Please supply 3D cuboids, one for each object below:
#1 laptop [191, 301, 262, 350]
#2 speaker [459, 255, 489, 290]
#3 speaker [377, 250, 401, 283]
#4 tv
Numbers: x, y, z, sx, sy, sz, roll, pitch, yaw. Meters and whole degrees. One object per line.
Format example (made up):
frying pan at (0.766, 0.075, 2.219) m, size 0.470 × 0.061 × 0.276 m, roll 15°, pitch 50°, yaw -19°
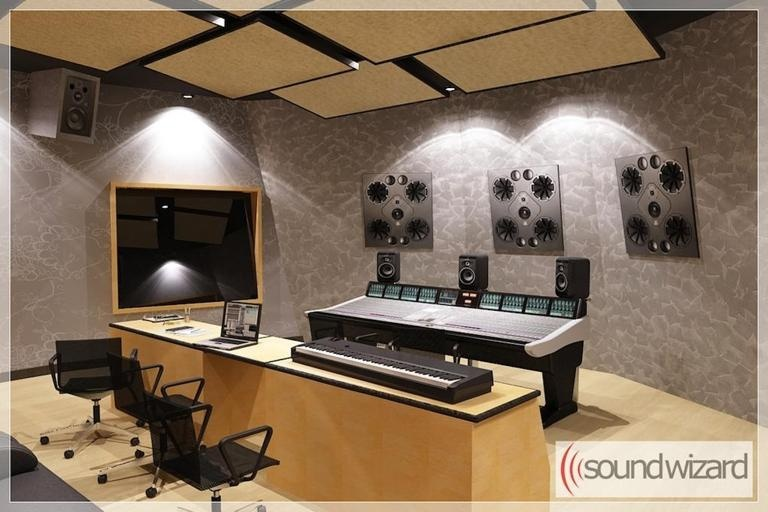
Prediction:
laptop at (-1.534, 0.697, 4.701) m, size 0.549 × 0.366 × 0.474 m, roll -1°, pitch 1°, yaw 35°
speaker at (1.097, 0.205, 5.871) m, size 0.352 × 0.428 × 0.261 m, roll 1°, pitch 12°, yaw 7°
speaker at (0.058, 0.149, 6.555) m, size 0.286 × 0.406 × 0.185 m, roll 2°, pitch 12°, yaw 12°
tv at (-3.167, -0.096, 7.393) m, size 2.353 × 1.776 × 0.164 m, roll -3°, pitch 1°, yaw -29°
